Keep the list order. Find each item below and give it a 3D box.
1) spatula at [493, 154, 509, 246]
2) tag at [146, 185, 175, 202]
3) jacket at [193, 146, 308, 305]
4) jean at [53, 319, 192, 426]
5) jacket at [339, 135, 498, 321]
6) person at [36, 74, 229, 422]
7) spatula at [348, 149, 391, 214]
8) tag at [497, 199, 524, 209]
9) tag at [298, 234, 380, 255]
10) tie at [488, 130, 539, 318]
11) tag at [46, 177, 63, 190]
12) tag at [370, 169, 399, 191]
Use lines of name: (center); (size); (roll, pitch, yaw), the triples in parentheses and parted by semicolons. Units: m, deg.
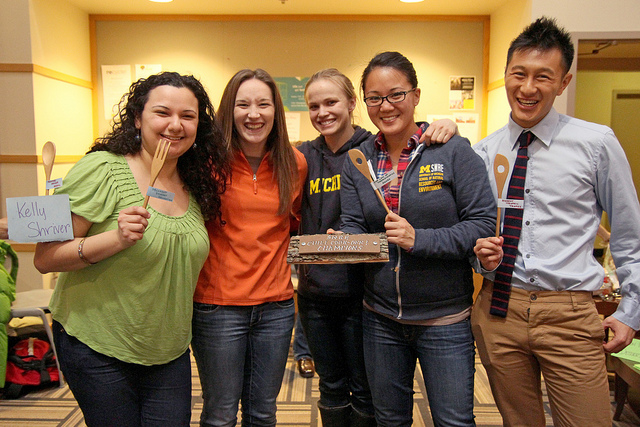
spatula: (0.896, -0.070, 2.344); (0.055, 0.463, 0.054); (0, -4, 6)
tag: (-0.706, -0.085, 2.109); (0.058, 0.026, 0.107); (-4, -10, 34)
jacket: (-0.397, 0.062, 2.422); (0.511, 0.793, 0.217); (-3, 8, -17)
jean: (-0.947, 0.753, 2.281); (0.543, 0.525, 0.525); (-5, 17, -31)
jacket: (0.464, 0.061, 2.351); (0.774, 0.886, 0.324); (2, 8, 20)
person: (-0.809, 0.161, 2.196); (0.855, 1.603, 0.351); (-6, 9, -32)
spatula: (0.233, -0.180, 2.390); (0.197, 0.313, 0.160); (-4, 16, -18)
tag: (0.923, -0.045, 2.303); (0.115, 0.044, 0.019); (2, 8, 20)
tag: (0.092, 0.148, 2.242); (0.378, 0.087, 0.066); (0, 8, 6)
tie: (0.936, 0.089, 2.328); (0.182, 1.039, 0.056); (5, -3, 38)
tag: (-1.144, -0.129, 2.066); (0.105, 0.043, 0.049); (2, 8, 19)
tag: (0.316, -0.166, 2.295); (0.098, 0.025, 0.095); (-29, 2, -40)
